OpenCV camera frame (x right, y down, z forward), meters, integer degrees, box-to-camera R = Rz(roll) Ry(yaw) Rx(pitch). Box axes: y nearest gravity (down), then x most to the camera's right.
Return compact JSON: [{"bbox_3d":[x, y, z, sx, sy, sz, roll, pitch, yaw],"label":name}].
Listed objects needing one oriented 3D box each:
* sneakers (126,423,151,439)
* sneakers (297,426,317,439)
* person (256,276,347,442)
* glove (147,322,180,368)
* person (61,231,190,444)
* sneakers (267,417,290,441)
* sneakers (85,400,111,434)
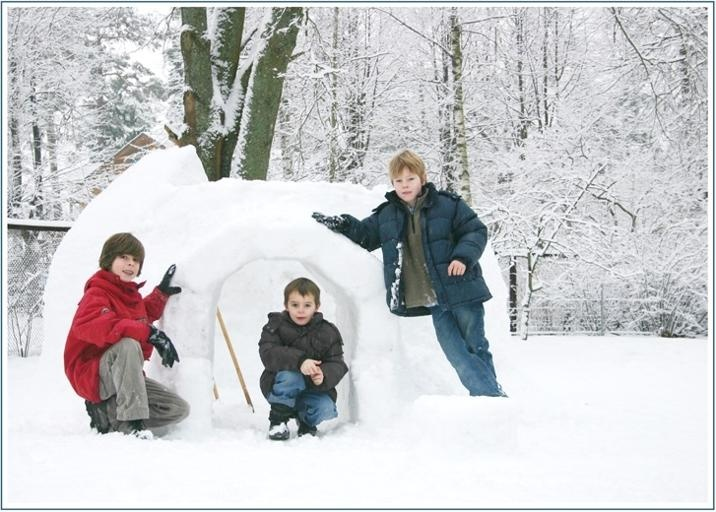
[{"bbox_3d":[-1.924,1.560,7.043,0.123,0.098,0.188,24,-7,-18],"label":"sneakers"},{"bbox_3d":[-0.466,1.642,7.406,0.178,0.094,0.182,0,10,-5],"label":"sneakers"},{"bbox_3d":[-0.507,0.963,7.475,0.825,1.430,0.533,0,10,-7],"label":"person"},{"bbox_3d":[-1.832,0.838,7.279,0.295,0.176,0.536,26,8,-22],"label":"glove"},{"bbox_3d":[-2.090,0.719,7.146,1.046,1.762,0.727,-2,10,-19],"label":"person"},{"bbox_3d":[-0.722,1.620,7.368,0.209,0.183,0.159,-1,10,-14],"label":"sneakers"},{"bbox_3d":[-2.324,1.457,7.140,0.091,0.263,0.267,-6,11,-29],"label":"sneakers"}]
